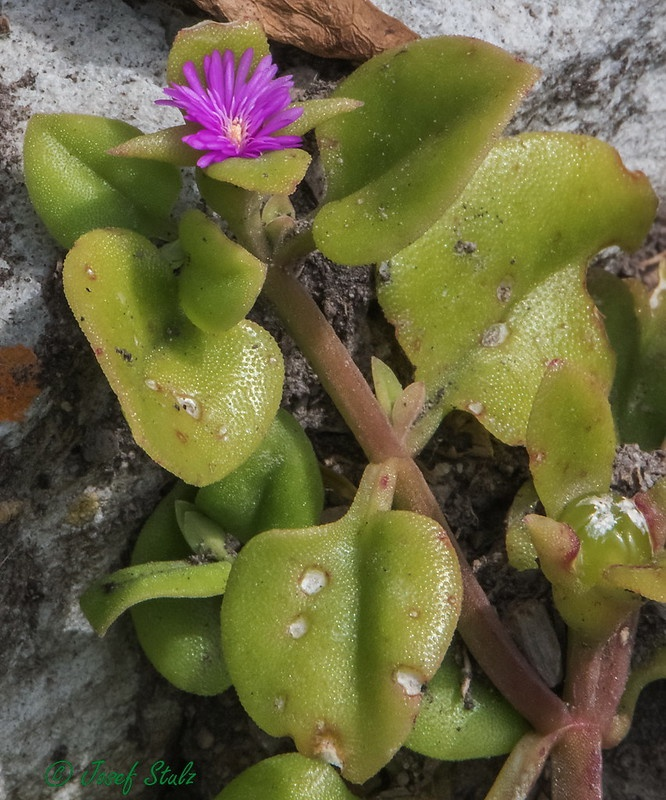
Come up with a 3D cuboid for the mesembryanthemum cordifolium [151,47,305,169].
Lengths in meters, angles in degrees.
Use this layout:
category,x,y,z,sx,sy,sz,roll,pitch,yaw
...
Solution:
category,x,y,z,sx,sy,sz,roll,pitch,yaw
mesembryanthemum cordifolium,-0.116,-0.328,1.102,0.178,0.077,0.164,-11,65,-18
